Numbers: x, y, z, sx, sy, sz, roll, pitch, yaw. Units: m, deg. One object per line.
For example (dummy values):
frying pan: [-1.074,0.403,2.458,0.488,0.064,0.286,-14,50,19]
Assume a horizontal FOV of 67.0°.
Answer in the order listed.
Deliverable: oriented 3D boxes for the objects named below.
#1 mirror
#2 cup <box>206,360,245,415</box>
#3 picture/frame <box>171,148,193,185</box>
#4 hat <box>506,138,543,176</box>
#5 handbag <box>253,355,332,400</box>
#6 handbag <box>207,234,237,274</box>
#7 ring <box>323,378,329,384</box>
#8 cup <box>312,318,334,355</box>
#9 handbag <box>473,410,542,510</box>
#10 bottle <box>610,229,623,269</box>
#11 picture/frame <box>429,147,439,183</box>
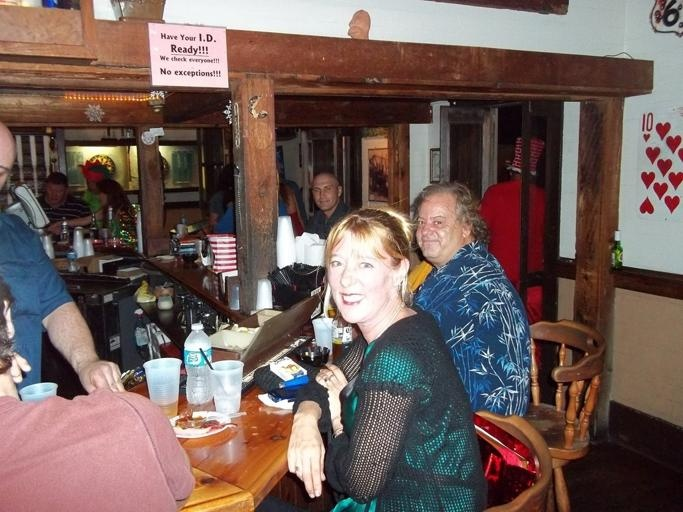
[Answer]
mirror: [-5.155,-2.119,12.296,2.853,1.271,0.219,-2,9,-41]
cup: [-0.502,0.578,2.251,0.147,0.211,0.158,-4,5,0]
picture/frame: [-5.144,-2.891,16.583,0.665,1.144,0.124,-7,28,-24]
hat: [1.685,-0.922,4.701,0.282,0.368,1.039,0,9,18]
handbag: [-0.300,0.583,2.477,0.285,0.067,0.307,13,7,-11]
handbag: [-0.938,-0.022,3.964,0.265,0.295,0.260,2,5,14]
ring: [-0.073,0.548,2.272,0.018,0.014,0.018,-1,-2,0]
cup: [-0.100,0.454,2.890,0.148,0.156,0.148,0,3,0]
handbag: [0.612,0.771,1.972,0.264,0.294,0.265,2,2,-27]
bottle: [2.268,-0.071,4.233,0.067,0.319,0.319,3,10,35]
picture/frame: [1.059,-1.042,5.863,0.128,0.384,0.087,-1,9,10]
